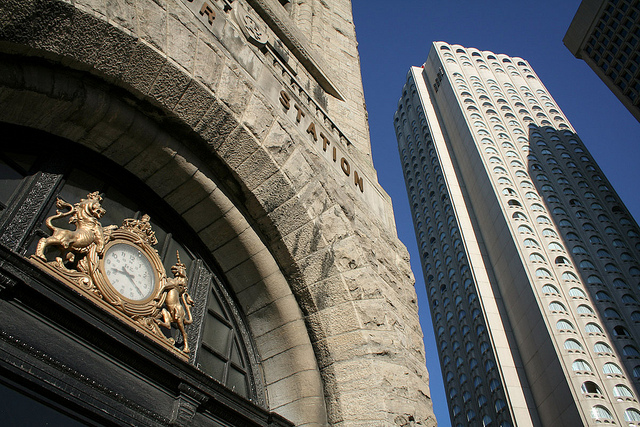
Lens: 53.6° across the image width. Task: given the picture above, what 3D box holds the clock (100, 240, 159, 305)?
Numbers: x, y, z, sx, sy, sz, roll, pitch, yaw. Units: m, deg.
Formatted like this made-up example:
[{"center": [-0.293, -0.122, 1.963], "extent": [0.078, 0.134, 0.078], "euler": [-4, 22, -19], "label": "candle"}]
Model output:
[{"center": [-3.118, 0.992, 10.184], "extent": [0.086, 0.842, 0.848], "euler": [-30, -40, 31], "label": "clock"}]
